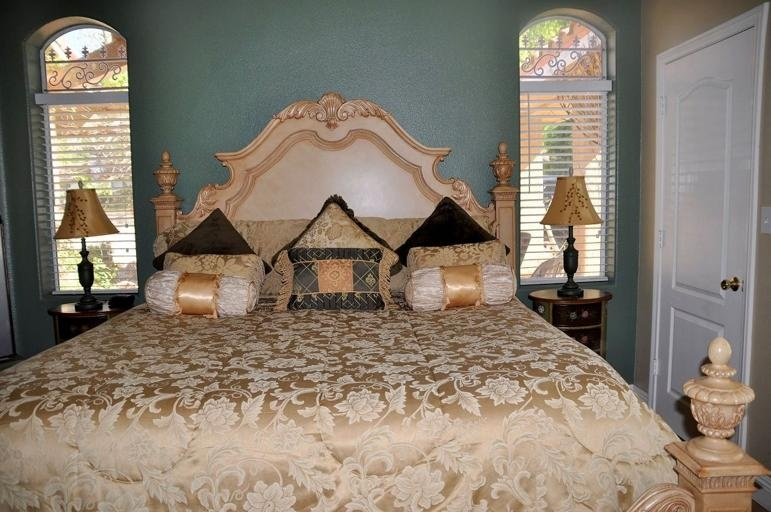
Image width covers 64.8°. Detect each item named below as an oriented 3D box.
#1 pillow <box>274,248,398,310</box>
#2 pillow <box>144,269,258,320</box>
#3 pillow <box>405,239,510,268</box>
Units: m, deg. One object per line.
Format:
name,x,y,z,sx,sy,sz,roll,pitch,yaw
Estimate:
pillow,-0.341,0.170,4.115,0.703,0.415,0.161,1,-19,3
pillow,-1.178,0.250,3.867,0.536,0.278,0.304,4,32,0
pillow,0.511,-0.005,4.163,0.467,0.138,0.262,-3,1,-6
